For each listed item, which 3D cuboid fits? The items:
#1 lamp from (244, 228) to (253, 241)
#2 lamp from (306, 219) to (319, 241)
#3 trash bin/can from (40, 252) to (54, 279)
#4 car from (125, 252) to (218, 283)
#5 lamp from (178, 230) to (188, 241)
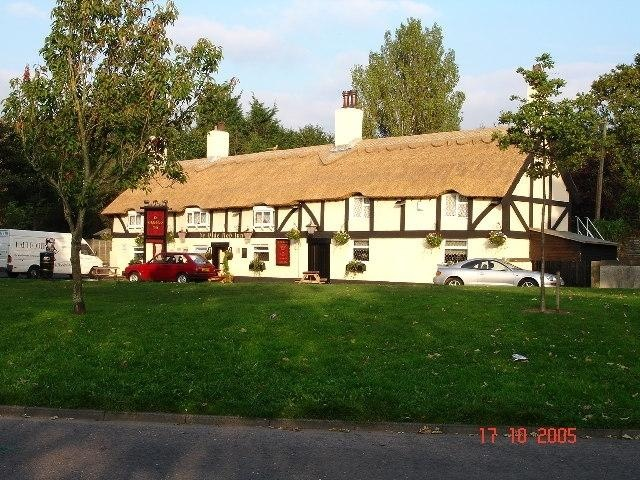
[{"bbox_3d":[-4.713,-0.416,48.116,0.734,0.973,0.696,1,-5,5],"label":"lamp"},{"bbox_3d":[-0.561,-0.565,44.899,0.905,1.200,0.852,1,3,8],"label":"lamp"},{"bbox_3d":[-15.247,1.418,41.029,0.682,1.495,0.440,-4,9,-25],"label":"trash bin/can"},{"bbox_3d":[-8.364,1.559,40.627,4.271,1.491,1.986,1,-1,25],"label":"car"},{"bbox_3d":[-9.687,-0.388,51.967,0.615,0.820,0.633,2,4,15],"label":"lamp"}]
